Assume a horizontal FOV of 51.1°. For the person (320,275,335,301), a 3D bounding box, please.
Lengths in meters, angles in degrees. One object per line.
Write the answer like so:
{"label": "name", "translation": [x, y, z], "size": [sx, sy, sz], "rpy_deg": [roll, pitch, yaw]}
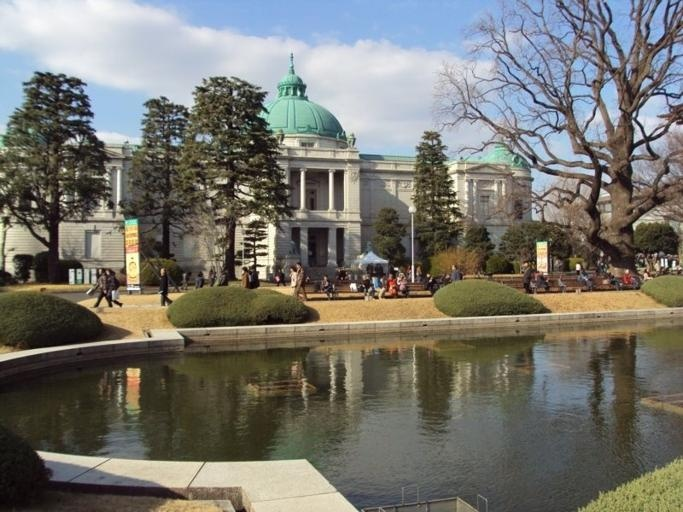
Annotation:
{"label": "person", "translation": [-0.660, 1.541, 34.005], "size": [0.521, 0.758, 1.287], "rpy_deg": [-4, 39, -17]}

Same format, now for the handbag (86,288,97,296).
{"label": "handbag", "translation": [-11.327, 1.649, 32.466], "size": [0.499, 0.119, 0.510], "rpy_deg": [-27, -5, 20]}

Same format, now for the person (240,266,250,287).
{"label": "person", "translation": [-4.045, 0.904, 30.306], "size": [0.286, 0.839, 0.822], "rpy_deg": [-1, 0, -6]}
